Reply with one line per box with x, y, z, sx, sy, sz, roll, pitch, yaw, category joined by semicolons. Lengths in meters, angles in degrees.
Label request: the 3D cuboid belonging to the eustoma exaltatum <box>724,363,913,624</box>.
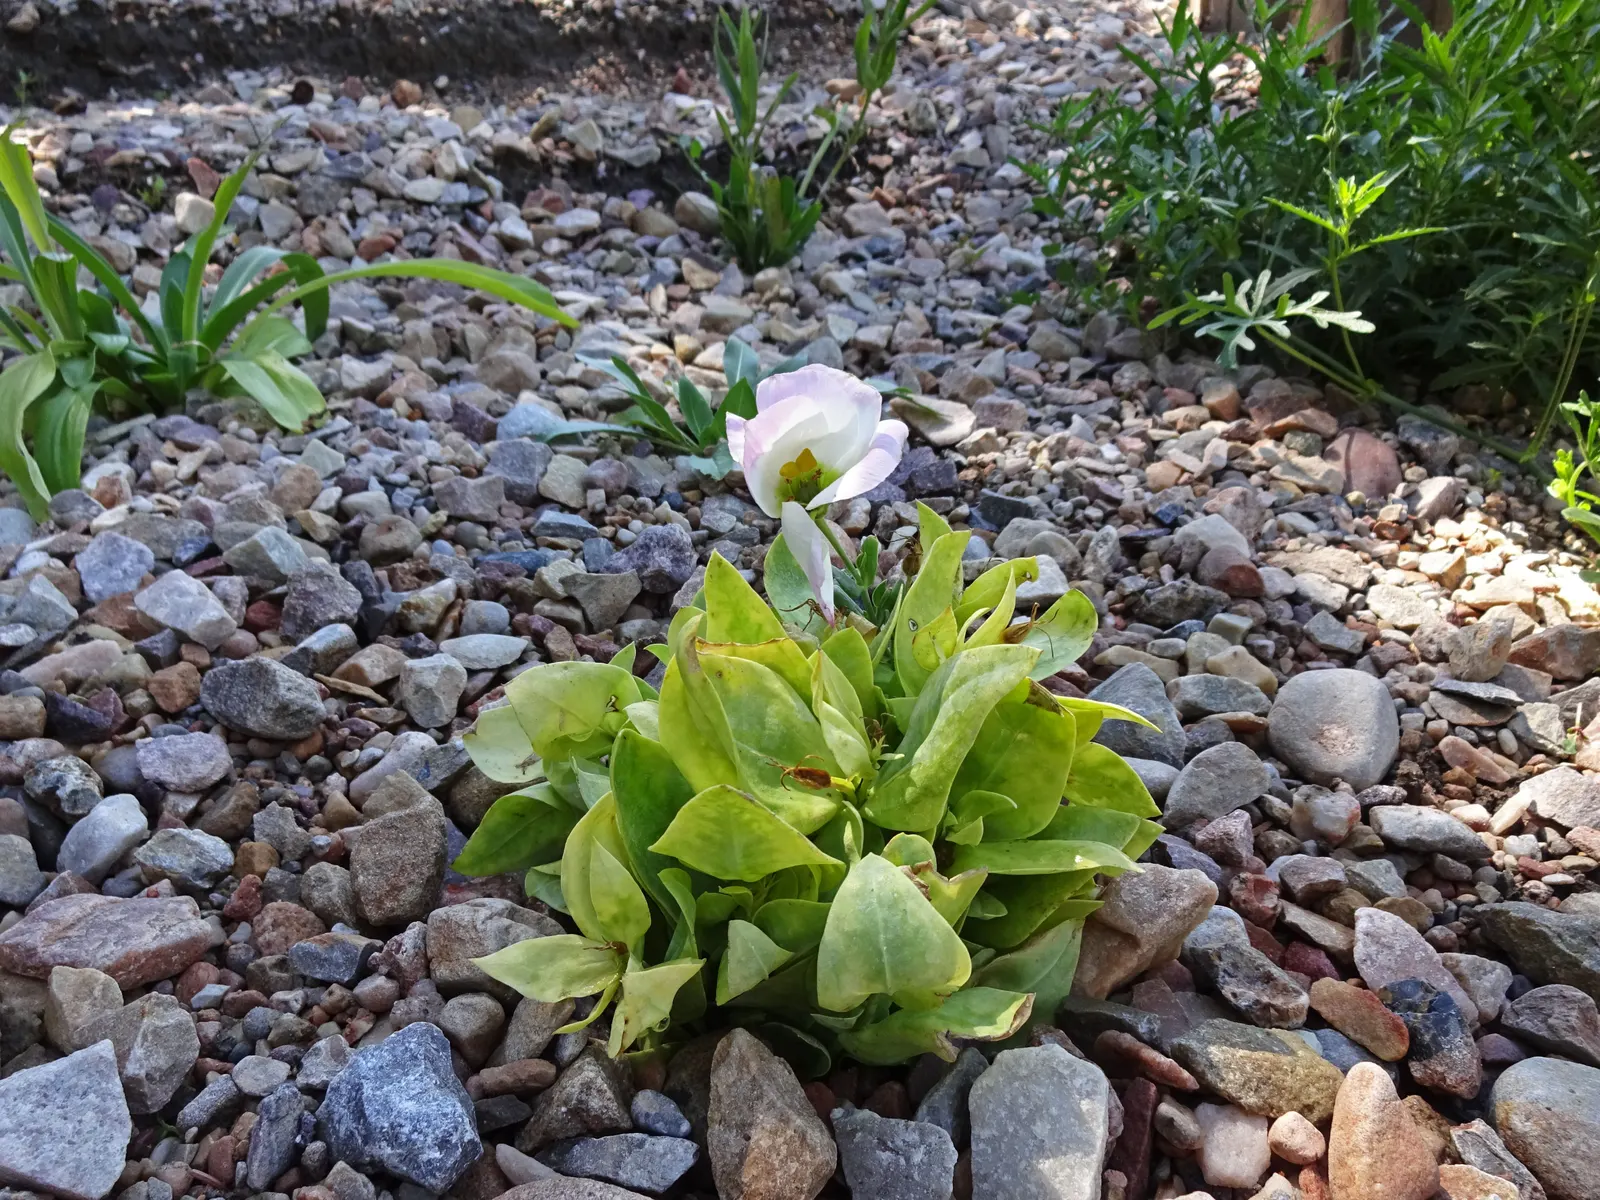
0.014;-0.135;1.677;0.157;0.155;0.182;-13;47;15;eustoma exaltatum
